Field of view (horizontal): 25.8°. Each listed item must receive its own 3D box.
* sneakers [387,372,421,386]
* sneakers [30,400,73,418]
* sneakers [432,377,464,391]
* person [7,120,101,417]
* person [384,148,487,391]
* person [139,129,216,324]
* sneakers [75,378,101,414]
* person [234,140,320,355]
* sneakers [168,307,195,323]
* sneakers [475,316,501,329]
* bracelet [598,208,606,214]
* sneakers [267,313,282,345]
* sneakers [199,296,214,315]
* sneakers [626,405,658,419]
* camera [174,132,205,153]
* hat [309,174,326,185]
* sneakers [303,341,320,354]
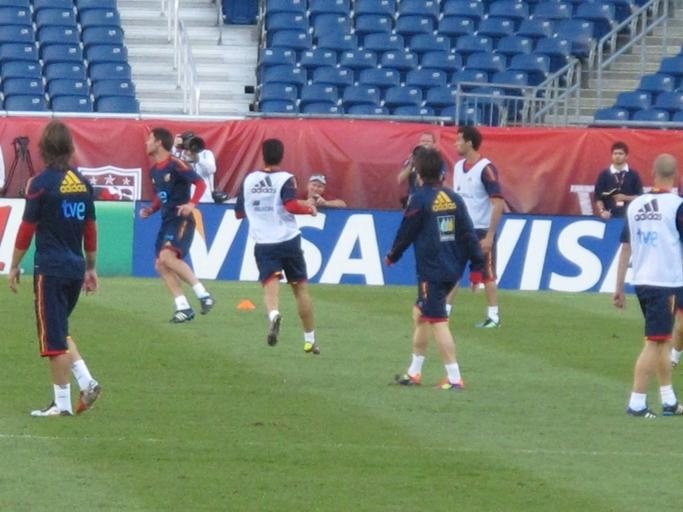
[{"bbox_3d":[0.762,1.446,17.498,0.308,0.121,0.129,5,2,8],"label":"sneakers"},{"bbox_3d":[-3.115,1.672,16.250,0.497,0.187,0.163,2,-5,-2],"label":"sneakers"},{"bbox_3d":[1.253,1.496,17.261,0.245,0.096,0.124,3,-1,7],"label":"sneakers"},{"bbox_3d":[-3.089,0.142,16.205,0.936,3.156,0.528,0,7,-12],"label":"person"},{"bbox_3d":[1.061,0.143,17.326,1.067,2.738,0.598,2,7,0],"label":"person"},{"bbox_3d":[-2.214,-0.419,20.148,0.960,2.602,0.649,1,7,-4],"label":"person"},{"bbox_3d":[-2.744,1.544,16.236,0.204,0.463,0.170,25,39,-12],"label":"sneakers"},{"bbox_3d":[-0.790,-0.117,18.626,1.159,2.653,0.862,3,7,13],"label":"person"},{"bbox_3d":[-2.123,0.811,20.147,0.394,0.183,0.139,-2,0,-45],"label":"sneakers"},{"bbox_3d":[1.978,0.939,20.424,0.402,0.163,0.128,0,1,13],"label":"sneakers"},{"bbox_3d":[4.127,-0.716,23.645,0.051,0.113,0.117,-15,2,-38],"label":"bracelet"},{"bbox_3d":[-0.852,0.923,18.336,0.145,0.398,0.214,13,-7,-15],"label":"sneakers"},{"bbox_3d":[-1.807,0.666,20.353,0.120,0.320,0.164,16,8,37],"label":"sneakers"},{"bbox_3d":[3.328,1.751,16.568,0.341,0.135,0.112,0,2,2],"label":"sneakers"},{"bbox_3d":[-2.416,-1.765,23.312,0.379,0.240,0.404,-33,24,-30],"label":"camera"},{"bbox_3d":[-0.389,-1.239,24.323,0.236,0.111,0.342,7,-5,-1],"label":"hat"},{"bbox_3d":[-0.343,1.152,18.597,0.213,0.136,0.101,-4,12,-23],"label":"sneakers"}]
